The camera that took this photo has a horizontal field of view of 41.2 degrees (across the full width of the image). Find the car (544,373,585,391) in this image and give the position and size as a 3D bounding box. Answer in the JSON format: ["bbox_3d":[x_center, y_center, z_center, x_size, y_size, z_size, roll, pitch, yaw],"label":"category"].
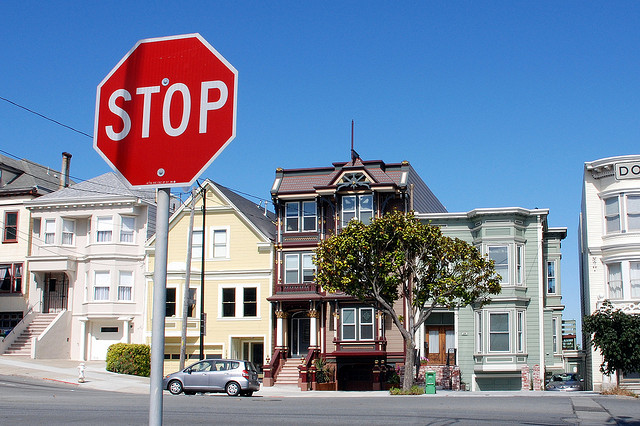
[{"bbox_3d":[14.470,9.938,50.489,2.020,1.004,2.626,-3,-13,14],"label":"car"}]

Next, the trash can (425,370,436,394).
[{"bbox_3d":[6.014,9.065,46.111,0.501,1.180,0.923,-1,-12,7],"label":"trash can"}]

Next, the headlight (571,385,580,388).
[{"bbox_3d":[14.913,10.020,49.732,0.474,0.146,0.068,3,-12,-11],"label":"headlight"}]

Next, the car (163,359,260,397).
[{"bbox_3d":[-5.966,8.827,45.971,4.870,2.017,2.444,1,-14,7],"label":"car"}]
